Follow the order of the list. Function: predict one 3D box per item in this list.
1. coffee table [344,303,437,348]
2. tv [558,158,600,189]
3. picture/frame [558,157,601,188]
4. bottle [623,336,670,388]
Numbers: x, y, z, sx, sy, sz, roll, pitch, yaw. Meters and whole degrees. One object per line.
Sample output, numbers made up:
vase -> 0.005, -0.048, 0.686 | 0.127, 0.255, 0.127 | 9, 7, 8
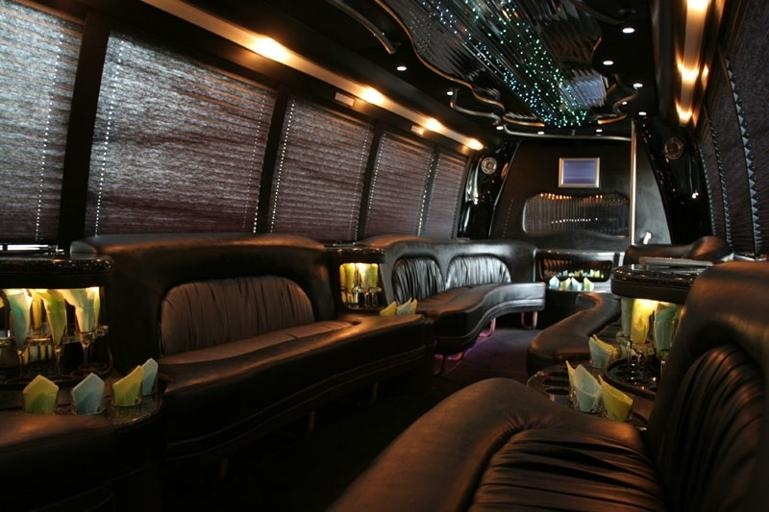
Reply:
coffee table -> 0.086, 0.504, 3.836 | 0.460, 0.397, 0.469 | 0, -4, 23
tv -> 3.119, -1.319, 7.457 | 0.569, 0.423, 0.061 | 1, -1, 15
picture/frame -> 3.121, -1.335, 7.457 | 0.561, 0.416, 0.054 | 1, -1, 15
bottle -> 1.195, 0.492, 2.185 | 0.185, 0.085, 0.253 | 0, 3, 15
